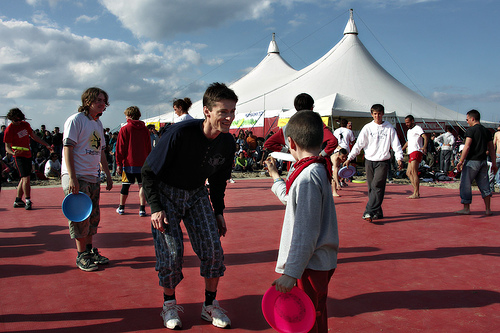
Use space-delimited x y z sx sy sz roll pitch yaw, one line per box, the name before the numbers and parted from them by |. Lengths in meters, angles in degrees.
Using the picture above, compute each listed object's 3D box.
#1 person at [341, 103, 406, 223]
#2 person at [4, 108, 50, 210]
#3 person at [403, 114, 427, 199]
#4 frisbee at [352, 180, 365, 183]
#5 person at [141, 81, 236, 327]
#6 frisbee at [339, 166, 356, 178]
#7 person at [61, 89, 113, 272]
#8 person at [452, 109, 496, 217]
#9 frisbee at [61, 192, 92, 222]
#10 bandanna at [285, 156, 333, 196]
person | 2.819 -0.098 8.433 1.314 2.724 1.161 1 0 25
person | -5.667 -0.185 9.116 0.724 2.473 0.656 -5 8 -39
person | 5.308 -0.330 11.868 0.655 2.661 1.573 3 7 23
frisbee | 4.511 0.627 15.399 0.497 0.026 0.599 1 7 5
person | -0.658 0.425 4.075 0.980 2.577 0.510 0 6 -3
frisbee | 2.583 0.148 9.836 0.292 0.063 0.310 1 -35 -6
person | -2.382 0.181 5.416 0.619 2.612 0.721 6 9 43
person | 5.607 -0.085 9.101 0.768 2.582 1.098 5 8 34
frisbee | -2.456 0.578 5.196 0.380 0.430 0.249 -3 7 -27
bandanna | 0.561 0.069 3.447 0.445 0.345 0.284 0 7 -1
